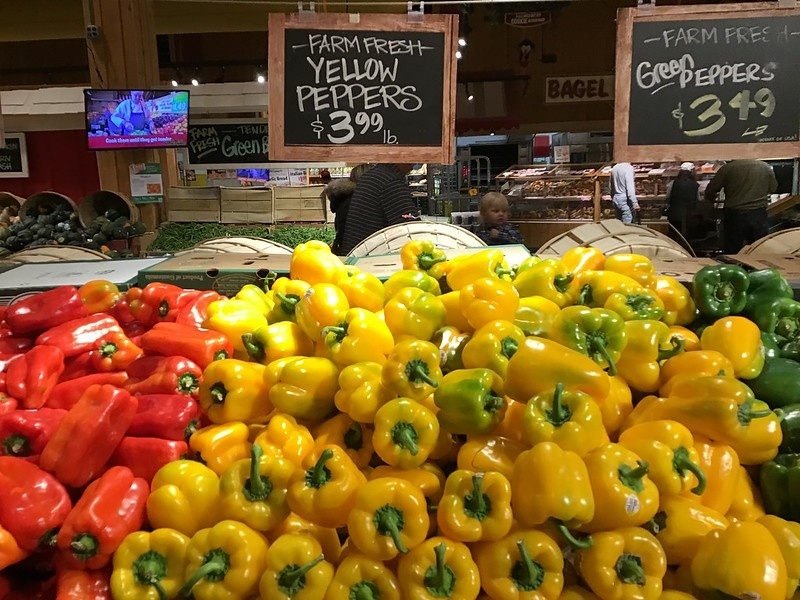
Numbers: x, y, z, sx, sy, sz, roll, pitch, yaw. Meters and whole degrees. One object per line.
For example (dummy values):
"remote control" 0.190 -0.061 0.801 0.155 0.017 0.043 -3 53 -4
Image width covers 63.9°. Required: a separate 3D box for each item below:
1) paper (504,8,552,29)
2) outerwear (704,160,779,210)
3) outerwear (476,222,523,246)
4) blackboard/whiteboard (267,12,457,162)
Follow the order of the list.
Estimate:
"paper" 1.760 -3.936 8.923 0.562 0.192 0.076 0 -1 1
"outerwear" 4.845 -1.659 9.165 0.798 0.682 0.456 7 17 23
"outerwear" 1.033 -0.700 6.931 0.387 0.198 0.455 3 -3 -40
"blackboard/whiteboard" -0.300 -1.568 4.640 1.180 0.969 0.113 0 10 -1
